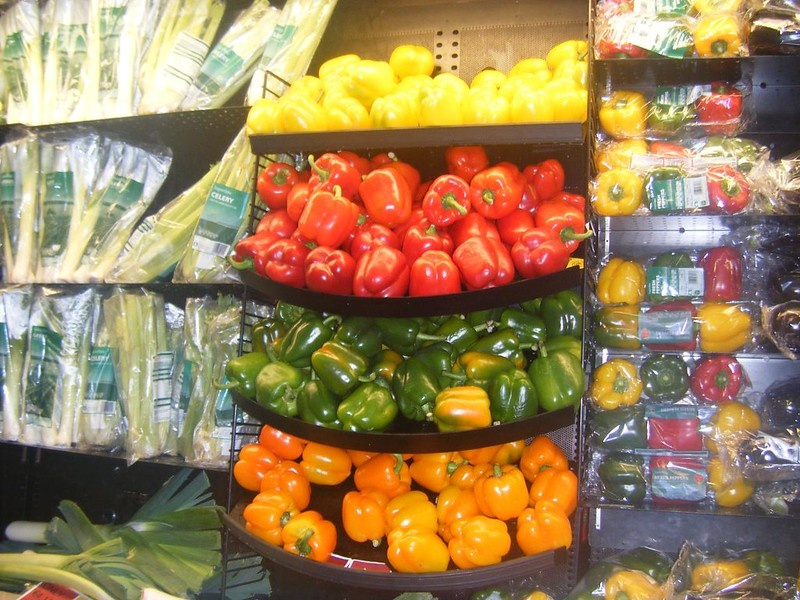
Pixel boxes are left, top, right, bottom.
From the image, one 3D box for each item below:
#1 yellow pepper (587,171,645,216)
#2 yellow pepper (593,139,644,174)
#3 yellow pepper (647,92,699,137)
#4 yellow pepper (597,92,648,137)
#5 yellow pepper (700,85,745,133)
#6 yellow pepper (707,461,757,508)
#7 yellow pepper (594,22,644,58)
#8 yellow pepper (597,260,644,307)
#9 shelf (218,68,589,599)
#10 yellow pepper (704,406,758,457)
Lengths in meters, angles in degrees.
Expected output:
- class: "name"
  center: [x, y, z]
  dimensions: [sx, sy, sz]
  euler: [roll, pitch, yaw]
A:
- class: "yellow pepper"
  center: [1.038, -0.529, 3.101]
  dimensions: [0.232, 0.233, 0.240]
  euler: [24, 25, 12]
- class: "yellow pepper"
  center: [1.088, -0.726, 3.155]
  dimensions: [0.202, 0.117, 0.198]
  euler: [18, 47, 42]
- class: "yellow pepper"
  center: [1.357, -0.931, 3.153]
  dimensions: [0.187, 0.193, 0.195]
  euler: [3, 18, 23]
- class: "yellow pepper"
  center: [1.122, -0.917, 3.249]
  dimensions: [0.175, 0.190, 0.177]
  euler: [17, 41, 31]
- class: "yellow pepper"
  center: [1.633, -0.940, 3.154]
  dimensions: [0.171, 0.189, 0.169]
  euler: [2, -18, 4]
- class: "yellow pepper"
  center: [1.583, 0.901, 3.006]
  dimensions: [0.202, 0.217, 0.084]
  euler: [5, 8, 3]
- class: "yellow pepper"
  center: [1.024, -1.201, 2.937]
  dimensions: [0.165, 0.177, 0.065]
  euler: [8, 8, 16]
- class: "yellow pepper"
  center: [1.115, -0.086, 3.255]
  dimensions: [0.214, 0.223, 0.122]
  euler: [27, -6, 2]
- class: "shelf"
  center: [-0.083, -0.061, 3.504]
  dimensions: [1.837, 2.136, 2.037]
  euler: [15, 20, 18]
- class: "yellow pepper"
  center: [1.631, 0.606, 3.111]
  dimensions: [0.231, 0.249, 0.234]
  euler: [-5, -1, 6]
